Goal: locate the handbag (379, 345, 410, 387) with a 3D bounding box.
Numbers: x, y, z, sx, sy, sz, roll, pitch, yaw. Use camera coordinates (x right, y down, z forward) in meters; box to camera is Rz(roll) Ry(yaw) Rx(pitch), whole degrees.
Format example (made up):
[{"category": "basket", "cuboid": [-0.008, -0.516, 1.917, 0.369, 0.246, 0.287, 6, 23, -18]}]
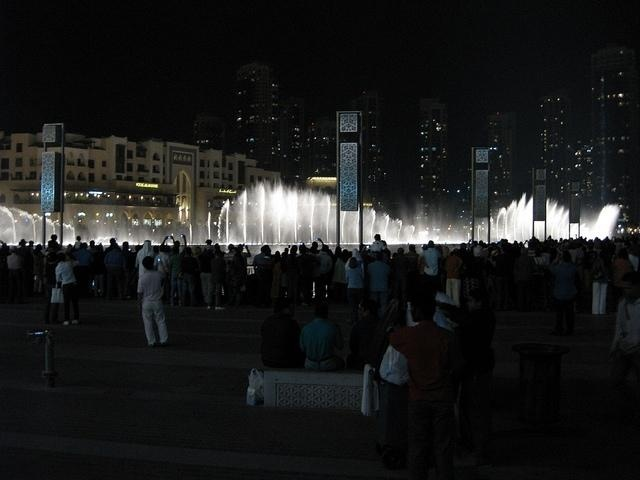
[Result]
[{"category": "handbag", "cuboid": [0.952, 1.601, 8.990, 0.381, 0.473, 0.212, 3, 1, 35]}]
